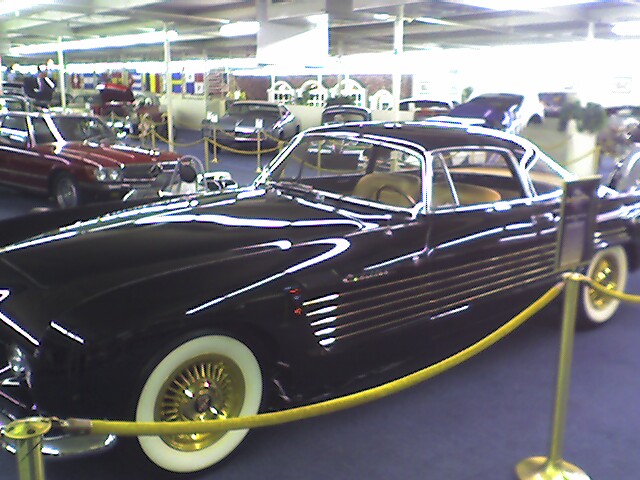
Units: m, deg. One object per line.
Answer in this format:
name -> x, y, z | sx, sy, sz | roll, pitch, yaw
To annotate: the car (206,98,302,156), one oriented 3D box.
car -> -1.948, -3.390, 13.563 | 1.785, 0.983, 2.996 | 5, 14, 13
